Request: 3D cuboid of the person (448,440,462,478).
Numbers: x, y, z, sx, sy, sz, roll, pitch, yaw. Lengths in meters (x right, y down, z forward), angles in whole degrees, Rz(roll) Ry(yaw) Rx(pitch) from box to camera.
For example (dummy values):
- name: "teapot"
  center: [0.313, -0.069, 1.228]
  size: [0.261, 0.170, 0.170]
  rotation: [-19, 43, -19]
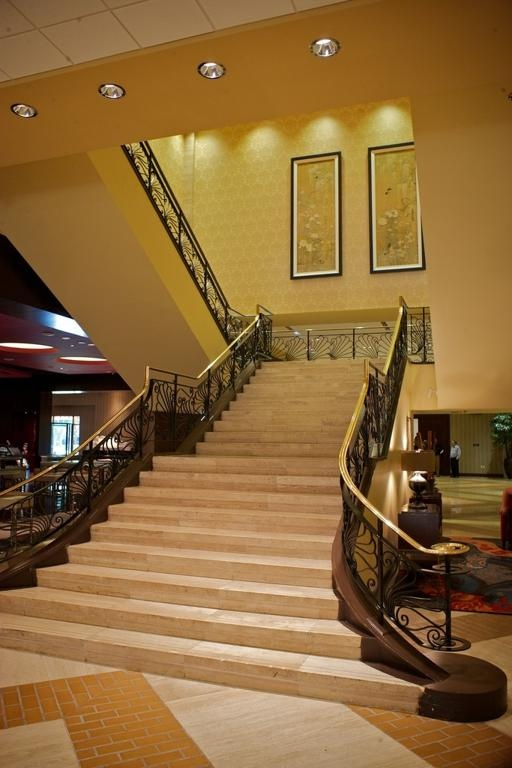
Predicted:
- name: "person"
  center: [7.301, 2.696, 19.552]
  size: [0.418, 1.338, 2.186]
  rotation: [-3, -11, 20]
